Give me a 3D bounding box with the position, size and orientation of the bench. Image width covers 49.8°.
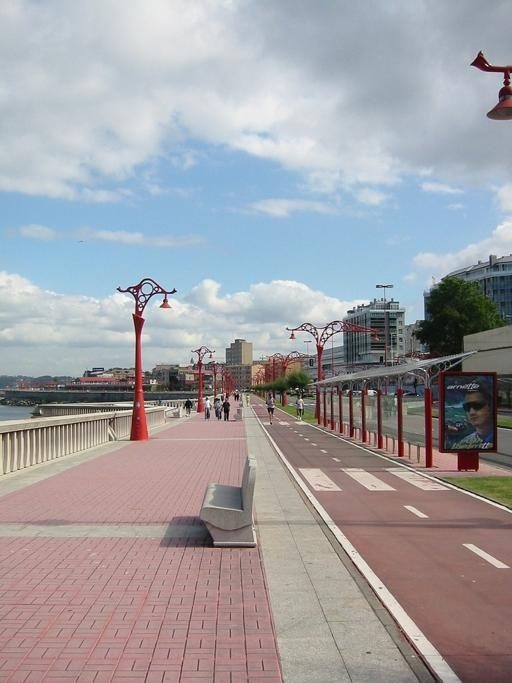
[{"bbox_3d":[-0.339,2.018,7.129,0.735,0.853,1.312,1,-3,-4],"label":"bench"}]
